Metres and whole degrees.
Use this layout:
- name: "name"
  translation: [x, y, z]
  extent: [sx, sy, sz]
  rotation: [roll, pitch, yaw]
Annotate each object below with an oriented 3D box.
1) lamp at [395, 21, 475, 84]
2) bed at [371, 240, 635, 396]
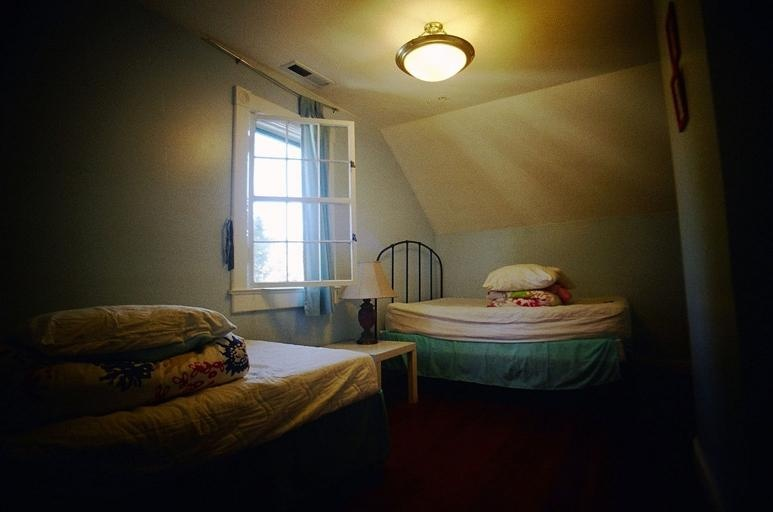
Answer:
- name: "lamp"
  translation: [0.357, -1.530, 3.909]
  extent: [0.572, 0.356, 0.575]
  rotation: [-3, -8, 16]
- name: "bed"
  translation: [1.153, 0.670, 4.771]
  extent: [1.529, 0.979, 1.553]
  rotation: [-5, -3, 31]
